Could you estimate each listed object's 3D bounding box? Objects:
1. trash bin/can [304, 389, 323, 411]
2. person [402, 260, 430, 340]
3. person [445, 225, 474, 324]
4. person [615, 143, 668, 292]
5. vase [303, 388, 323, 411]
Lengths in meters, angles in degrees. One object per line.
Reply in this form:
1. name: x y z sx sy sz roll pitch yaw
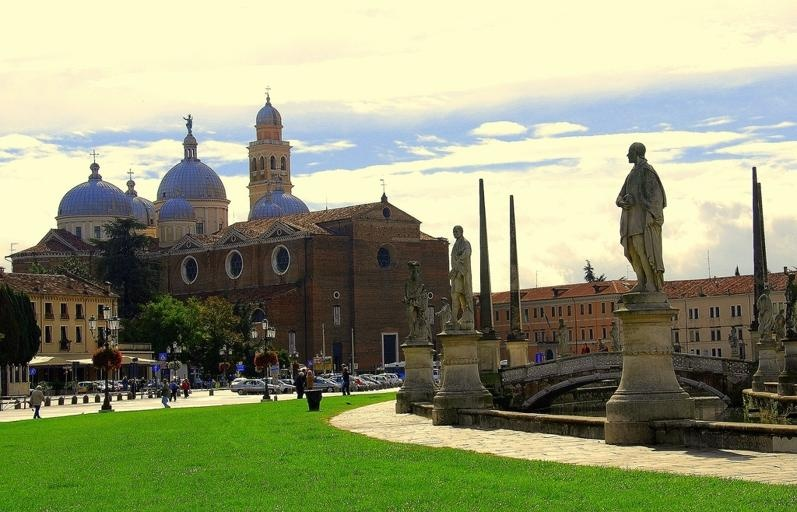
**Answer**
1. trash bin/can: -3.416 5.650 49.090 0.849 0.801 0.855 -5 -5 21
2. person: 0.590 1.691 44.501 0.985 2.659 0.873 5 1 23
3. person: 2.074 0.865 39.760 1.270 3.635 1.051 2 0 13
4. person: 6.024 -0.974 30.854 1.114 3.728 0.702 -6 -6 20
5. vase: -3.433 5.653 49.209 0.870 0.833 0.886 -5 -4 14
